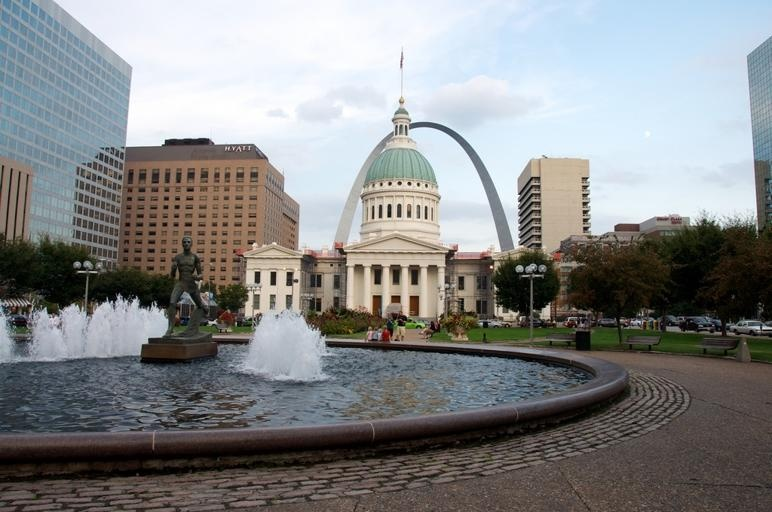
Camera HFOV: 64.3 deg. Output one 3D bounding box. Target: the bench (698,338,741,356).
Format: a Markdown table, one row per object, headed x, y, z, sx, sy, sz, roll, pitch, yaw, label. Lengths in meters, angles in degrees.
| x | y | z | sx | sy | sz | roll | pitch | yaw | label |
| --- | --- | --- | --- | --- | --- | --- | --- | --- | --- |
| 16.808 | 4.580 | 31.014 | 1.581 | 0.742 | 2.785 | -4 | -6 | 27 | bench |

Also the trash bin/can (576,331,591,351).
| x | y | z | sx | sy | sz | roll | pitch | yaw | label |
| --- | --- | --- | --- | --- | --- | --- | --- | --- | --- |
| 10.424 | 4.507 | 32.467 | 0.731 | 1.000 | 0.927 | -2 | -6 | 14 | trash bin/can |

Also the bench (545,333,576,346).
| x | y | z | sx | sy | sz | roll | pitch | yaw | label |
| --- | --- | --- | --- | --- | --- | --- | --- | --- | --- |
| 10.594 | 5.040 | 37.012 | 1.484 | 0.660 | 3.458 | -2 | -6 | 16 | bench |
